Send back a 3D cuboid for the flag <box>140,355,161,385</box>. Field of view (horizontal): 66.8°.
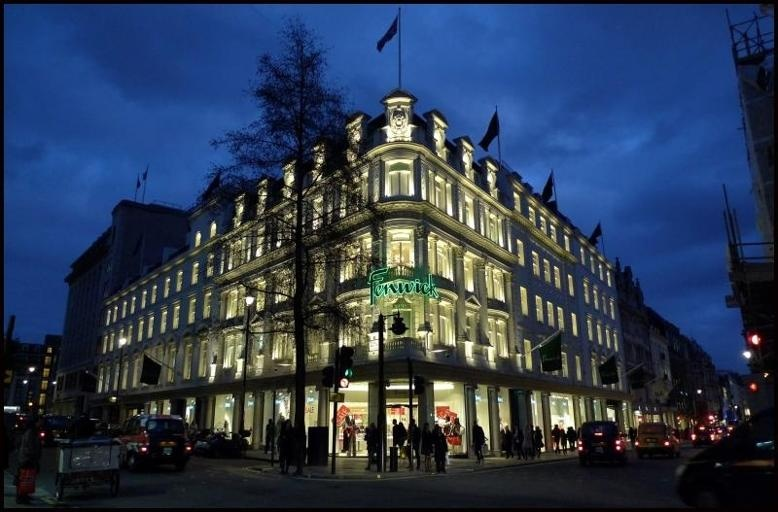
[{"bbox_3d":[-21.299,10.098,52.639,1.161,2.469,2.017,-8,-24,14],"label":"flag"}]

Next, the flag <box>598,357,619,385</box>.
[{"bbox_3d":[17.686,9.104,47.709,1.209,2.198,1.524,-13,-26,25],"label":"flag"}]

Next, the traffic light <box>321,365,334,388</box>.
[{"bbox_3d":[-2.875,5.686,28.148,0.464,0.968,0.622,-2,-23,0],"label":"traffic light"}]

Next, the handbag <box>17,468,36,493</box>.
[{"bbox_3d":[-12.055,7.458,19.602,0.505,0.721,0.351,13,-27,-30],"label":"handbag"}]

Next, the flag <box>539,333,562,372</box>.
[{"bbox_3d":[11.395,6.649,41.683,1.433,2.794,1.890,-6,-24,11],"label":"flag"}]

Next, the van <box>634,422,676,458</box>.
[{"bbox_3d":[16.626,11.238,36.595,1.494,1.406,3.145,-7,-13,26],"label":"van"}]
